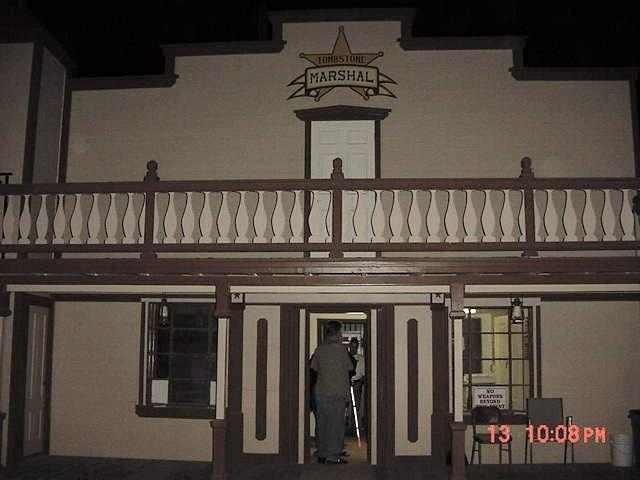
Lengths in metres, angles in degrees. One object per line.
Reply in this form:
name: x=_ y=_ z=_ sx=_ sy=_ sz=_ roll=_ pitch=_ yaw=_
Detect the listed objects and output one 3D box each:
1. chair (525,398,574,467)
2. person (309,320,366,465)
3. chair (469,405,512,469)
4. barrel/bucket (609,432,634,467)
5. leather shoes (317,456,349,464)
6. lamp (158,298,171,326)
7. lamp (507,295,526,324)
chair: x=4.596 y=3.914 z=22.077 sx=1.016 sy=1.737 sz=1.238 roll=-1 pitch=-25 yaw=12
person: x=0.216 y=3.036 z=22.023 sx=0.883 sy=2.863 sz=0.430 roll=1 pitch=-8 yaw=-1
chair: x=3.323 y=3.819 z=21.324 sx=0.768 sy=1.162 sz=0.874 roll=-1 pitch=-2 yaw=19
barrel/bucket: x=6.020 y=4.175 z=21.673 sx=0.518 sy=0.589 sz=0.489 roll=1 pitch=-12 yaw=0
leather shoes: x=0.237 y=4.459 z=21.955 sx=0.591 sy=0.261 sz=0.226 roll=-1 pitch=-12 yaw=-1
lamp: x=-3.211 y=1.451 z=22.257 sx=0.170 sy=0.551 sz=0.218 roll=1 pitch=-42 yaw=-10
lamp: x=4.015 y=1.411 z=22.174 sx=0.273 sy=0.529 sz=0.384 roll=-1 pitch=-9 yaw=14
